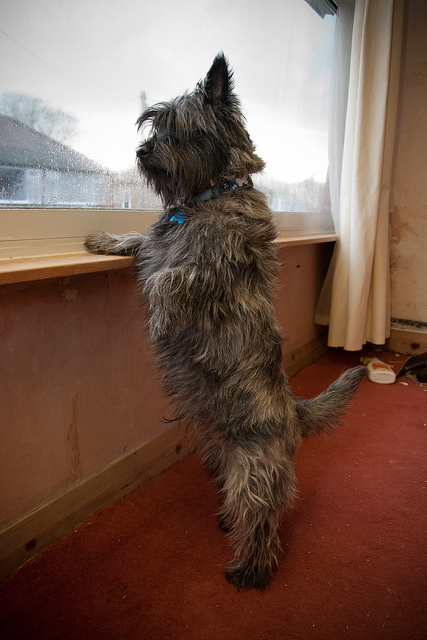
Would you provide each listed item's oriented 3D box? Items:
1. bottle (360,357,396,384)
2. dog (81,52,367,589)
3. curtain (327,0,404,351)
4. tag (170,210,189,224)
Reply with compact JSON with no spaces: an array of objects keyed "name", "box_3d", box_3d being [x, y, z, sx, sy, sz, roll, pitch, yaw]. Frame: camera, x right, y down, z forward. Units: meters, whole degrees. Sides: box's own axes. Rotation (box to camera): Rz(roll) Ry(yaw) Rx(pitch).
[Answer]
[{"name":"bottle","box_3d":[0.812,0.258,2.241,0.102,0.092,0.292,16,20,2]},{"name":"dog","box_3d":[0.017,-0.003,1.133,0.635,1.179,0.408,7,15,19]},{"name":"curtain","box_3d":[0.769,-0.654,2.191,0.337,1.632,0.235,2,14,0]},{"name":"tag","box_3d":[-0.081,-0.233,1.031,0.031,0.032,0.010,34,-10,21]}]
